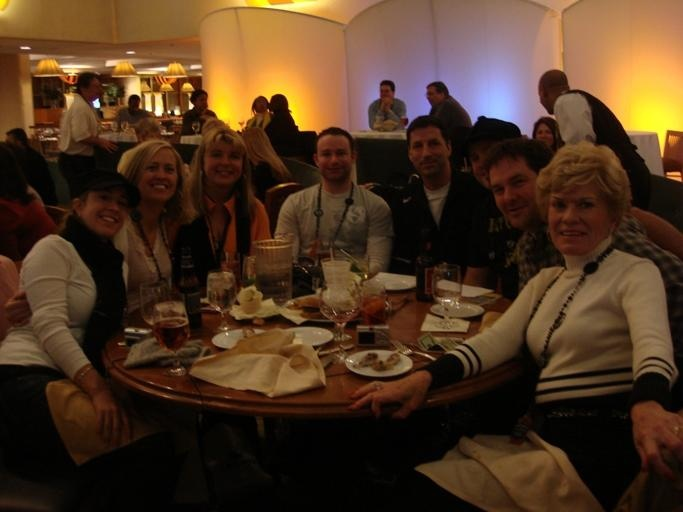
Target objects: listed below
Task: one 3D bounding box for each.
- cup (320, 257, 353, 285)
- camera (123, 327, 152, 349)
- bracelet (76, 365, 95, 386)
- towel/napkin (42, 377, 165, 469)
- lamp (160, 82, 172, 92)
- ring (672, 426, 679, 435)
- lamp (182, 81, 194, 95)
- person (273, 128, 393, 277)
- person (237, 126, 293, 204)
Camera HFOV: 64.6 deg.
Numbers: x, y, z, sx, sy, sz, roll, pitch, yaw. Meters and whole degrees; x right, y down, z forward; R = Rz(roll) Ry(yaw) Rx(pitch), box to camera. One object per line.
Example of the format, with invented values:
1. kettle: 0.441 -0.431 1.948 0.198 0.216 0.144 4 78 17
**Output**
1. cup: -0.020 0.060 2.203 0.092 0.111 0.113 0 -3 11
2. camera: -0.771 0.293 2.016 0.109 0.105 0.065 0 4 0
3. bracelet: -0.914 0.425 1.919 0.057 0.016 0.054 -43 10 9
4. towel/napkin: -0.831 0.555 1.836 0.281 0.103 0.279 -11 34 -29
5. lamp: -5.820 -5.579 17.851 0.361 0.184 0.352 -11 14 -42
6. ring: 0.854 0.444 1.379 0.014 0.004 0.015 -4 27 2
7. lamp: -5.428 -5.851 18.721 0.495 0.478 0.453 3 19 5
8. person: -0.064 -0.330 3.559 0.752 1.033 0.649 0 3 5
9. person: -0.701 -0.888 4.885 0.352 0.324 0.830 -6 -32 4
